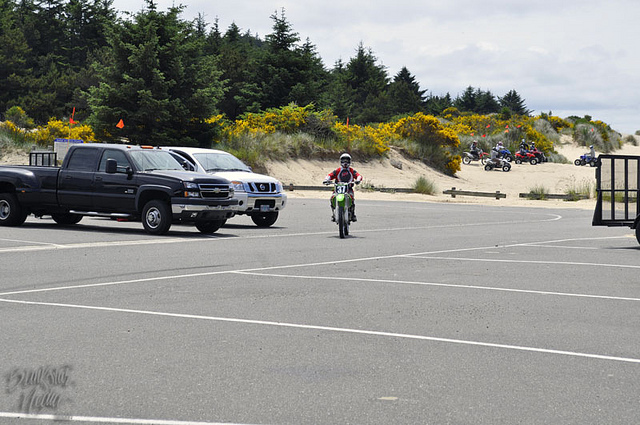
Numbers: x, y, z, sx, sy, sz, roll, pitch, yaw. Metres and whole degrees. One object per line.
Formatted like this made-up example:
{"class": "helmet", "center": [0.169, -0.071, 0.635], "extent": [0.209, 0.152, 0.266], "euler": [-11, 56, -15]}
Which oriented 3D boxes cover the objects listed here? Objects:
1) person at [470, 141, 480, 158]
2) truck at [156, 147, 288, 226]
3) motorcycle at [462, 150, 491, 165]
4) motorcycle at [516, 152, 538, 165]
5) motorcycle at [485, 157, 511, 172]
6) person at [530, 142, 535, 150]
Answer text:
{"class": "person", "center": [14.479, -6.014, 59.823], "extent": [0.906, 1.646, 1.013], "euler": [-8, 6, 8]}
{"class": "truck", "center": [-3.506, -1.031, 22.214], "extent": [2.102, 2.105, 4.502], "euler": [-1, 1, -36]}
{"class": "motorcycle", "center": [14.422, -5.055, 59.118], "extent": [2.175, 1.483, 1.153], "euler": [0, 5, 10]}
{"class": "motorcycle", "center": [18.978, -4.992, 59.228], "extent": [1.736, 1.146, 0.993], "euler": [1, 4, 8]}
{"class": "motorcycle", "center": [15.221, -4.108, 55.149], "extent": [1.712, 1.143, 0.932], "euler": [0, 7, 15]}
{"class": "person", "center": [20.135, -6.247, 60.634], "extent": [0.549, 0.710, 1.189], "euler": [3, 6, 14]}
